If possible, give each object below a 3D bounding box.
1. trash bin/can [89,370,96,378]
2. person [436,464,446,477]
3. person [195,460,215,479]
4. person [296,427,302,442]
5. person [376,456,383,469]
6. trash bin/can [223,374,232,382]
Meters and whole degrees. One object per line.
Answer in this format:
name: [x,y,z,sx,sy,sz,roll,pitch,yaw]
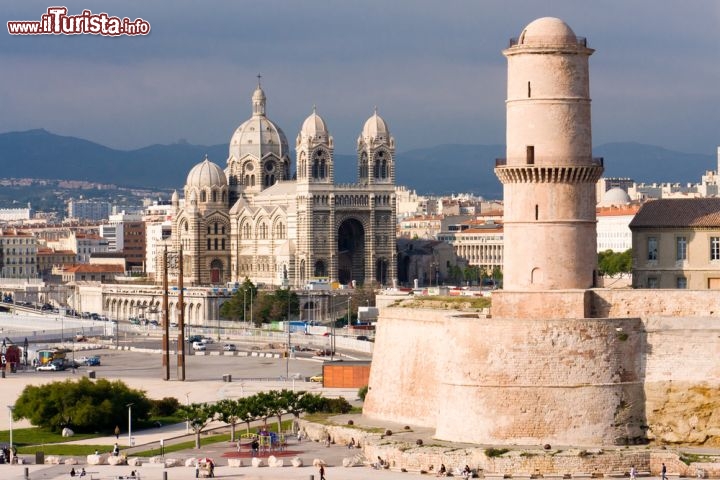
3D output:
trash bin/can: [-21.650,10.707,166.636,0.689,0.588,0.514,1,3,32]
person: [5.167,14.178,128.576,0.580,0.684,0.324,-1,-1,3]
person: [-9.849,14.481,131.716,1.160,0.878,1.067,0,-5,5]
person: [-4.011,12.915,139.039,0.425,0.784,1.223,0,-1,-5]
person: [1.254,13.951,130.992,0.357,0.753,0.615,0,-1,-25]
trash bin/can: [-10.603,10.894,164.674,0.622,0.392,0.584,0,0,11]
